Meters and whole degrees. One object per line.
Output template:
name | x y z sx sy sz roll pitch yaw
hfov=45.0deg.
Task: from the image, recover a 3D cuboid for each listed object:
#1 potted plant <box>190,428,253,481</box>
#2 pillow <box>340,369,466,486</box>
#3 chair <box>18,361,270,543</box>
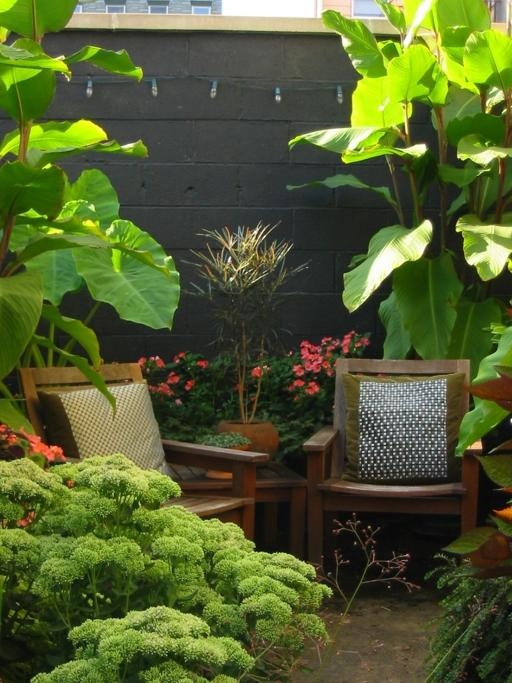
potted plant | -0.140 0.490 2.673 0.216 0.127 0.202 0 -3 -2
pillow | 0.625 0.378 2.586 0.535 0.457 0.188 0 -20 6
chair | -0.303 0.369 2.605 0.881 0.925 0.653 -2 -1 34
